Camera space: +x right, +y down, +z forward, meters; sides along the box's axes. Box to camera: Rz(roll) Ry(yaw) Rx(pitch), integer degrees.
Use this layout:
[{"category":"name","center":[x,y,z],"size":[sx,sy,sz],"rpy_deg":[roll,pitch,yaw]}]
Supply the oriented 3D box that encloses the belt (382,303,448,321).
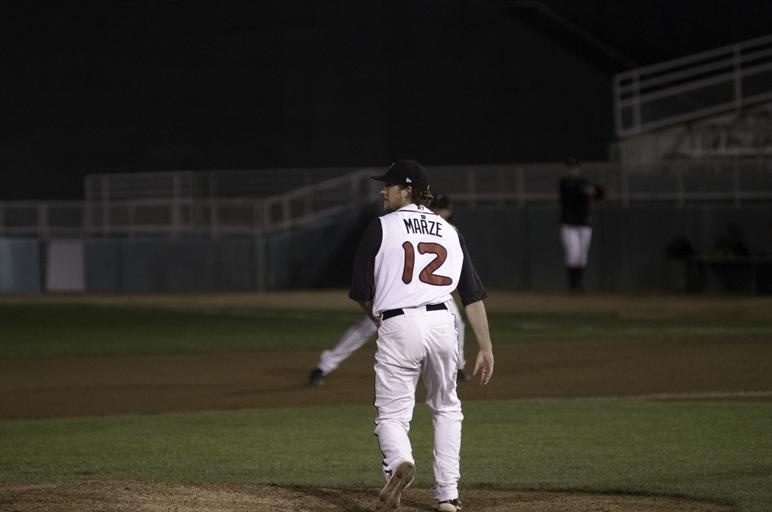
[{"category":"belt","center":[0.419,0.835,20.034],"size":[0.947,0.233,0.103],"rpy_deg":[-1,14,-2]}]
